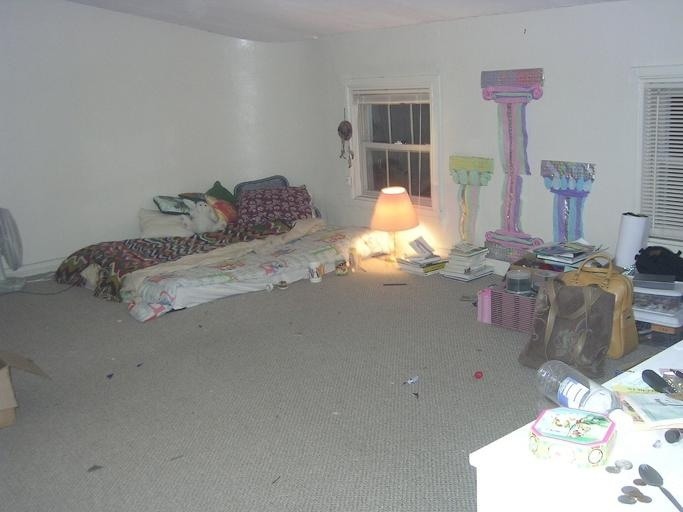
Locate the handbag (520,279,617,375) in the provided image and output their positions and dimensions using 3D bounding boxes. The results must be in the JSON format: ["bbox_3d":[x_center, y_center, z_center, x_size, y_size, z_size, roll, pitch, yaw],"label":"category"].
[{"bbox_3d":[1.542,0.488,3.121,0.561,0.607,0.323,11,1,33],"label":"handbag"}]

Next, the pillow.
[{"bbox_3d":[-1.442,-0.648,5.966,2.133,0.602,0.860,-8,11,-22],"label":"pillow"}]

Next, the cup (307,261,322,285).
[{"bbox_3d":[-0.290,0.180,5.083,0.124,0.227,0.090,-5,10,-2],"label":"cup"}]

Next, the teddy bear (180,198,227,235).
[{"bbox_3d":[-1.717,-0.491,5.819,0.514,0.366,0.236,-7,11,-14],"label":"teddy bear"}]
